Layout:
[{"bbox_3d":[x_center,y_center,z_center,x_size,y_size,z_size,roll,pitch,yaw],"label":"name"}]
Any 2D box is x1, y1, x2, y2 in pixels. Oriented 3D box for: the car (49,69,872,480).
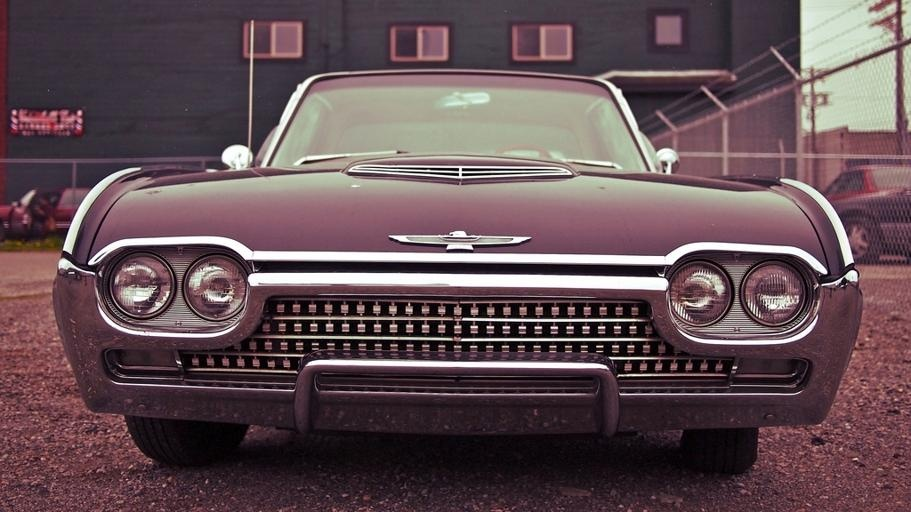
[{"bbox_3d":[-0.050,0.139,8.951,6.802,3.489,2.632,-3,17,-5],"label":"car"}]
